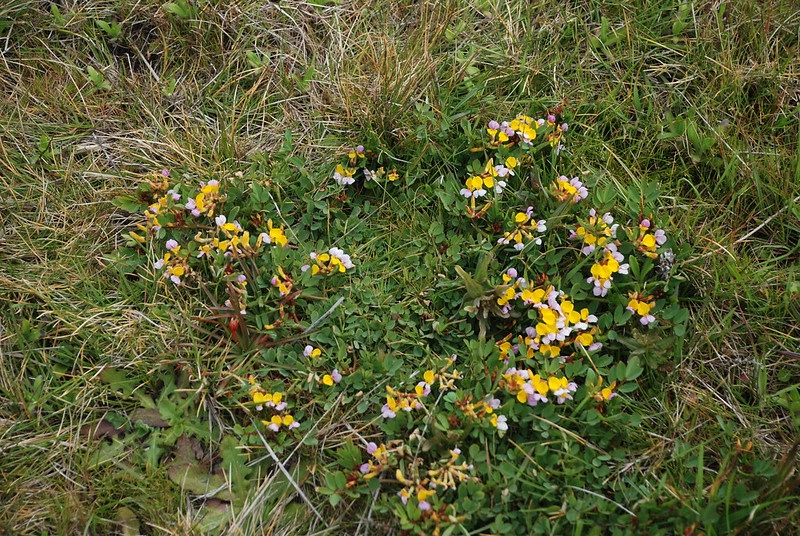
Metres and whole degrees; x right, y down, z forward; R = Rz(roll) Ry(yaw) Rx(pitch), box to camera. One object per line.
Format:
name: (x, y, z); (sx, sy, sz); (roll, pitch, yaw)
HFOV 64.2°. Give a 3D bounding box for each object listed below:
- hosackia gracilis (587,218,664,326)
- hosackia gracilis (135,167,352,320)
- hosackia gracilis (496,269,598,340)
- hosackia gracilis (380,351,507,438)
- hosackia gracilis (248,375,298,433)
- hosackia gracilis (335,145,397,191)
hosackia gracilis: (1.347, 0.001, 3.886); (0.607, 0.156, 0.645); (10, 85, 3)
hosackia gracilis: (-1.082, -0.101, 4.034); (1.462, 0.414, 0.727); (27, 86, 4)
hosackia gracilis: (0.856, 0.276, 3.834); (0.591, 0.198, 0.359); (22, 86, 4)
hosackia gracilis: (0.246, 0.744, 3.768); (0.727, 0.354, 0.440); (1, 85, 3)
hosackia gracilis: (-0.749, 0.842, 3.784); (0.278, 0.128, 0.339); (13, 72, -19)
hosackia gracilis: (-0.238, -0.662, 4.185); (0.299, 0.122, 0.317); (-8, 76, -15)
